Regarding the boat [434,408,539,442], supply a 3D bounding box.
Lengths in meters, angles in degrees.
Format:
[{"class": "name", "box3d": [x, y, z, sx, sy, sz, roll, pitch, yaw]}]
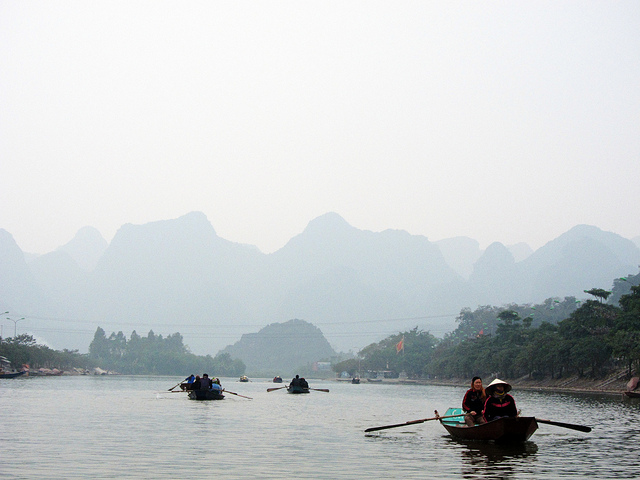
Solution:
[{"class": "boat", "box3d": [8.066, 9.608, 34.495, 2.512, 1.163, 4.532, 4, -15, -24]}]

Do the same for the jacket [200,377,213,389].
[{"class": "jacket", "box3d": [-10.829, 13.735, 64.439, 0.905, 1.051, 2.439, 1, -17, -2]}]

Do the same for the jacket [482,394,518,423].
[{"class": "jacket", "box3d": [8.789, 8.333, 33.167, 1.199, 1.351, 0.699, 1, -19, 3]}]

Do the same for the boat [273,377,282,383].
[{"class": "boat", "box3d": [-9.853, 33.288, 160.354, 1.457, 1.013, 2.610, 0, -8, -4]}]

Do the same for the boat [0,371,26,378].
[{"class": "boat", "box3d": [-53.723, 24.042, 119.578, 1.159, 1.007, 5.038, -9, -8, 35]}]
